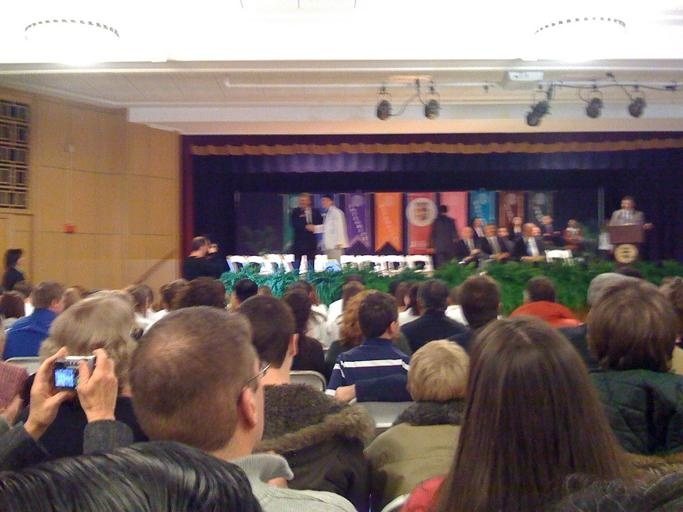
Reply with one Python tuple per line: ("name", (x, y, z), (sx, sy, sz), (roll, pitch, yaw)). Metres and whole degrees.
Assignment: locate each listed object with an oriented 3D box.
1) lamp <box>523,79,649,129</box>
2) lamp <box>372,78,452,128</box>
("lamp", (3.011, -1.931, 7.508), (1.070, 0.345, 0.779), (-1, 4, 11))
("lamp", (0.822, -1.734, 7.709), (1.003, 0.675, 0.496), (-1, 8, 0))
